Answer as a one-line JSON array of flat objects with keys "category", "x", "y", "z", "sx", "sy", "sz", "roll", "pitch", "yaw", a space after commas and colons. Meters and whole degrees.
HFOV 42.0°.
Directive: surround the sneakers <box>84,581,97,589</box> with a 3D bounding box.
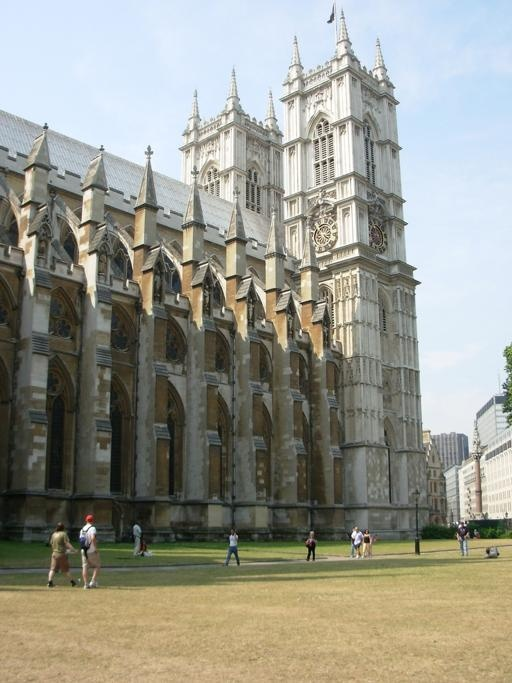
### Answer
[{"category": "sneakers", "x": -3.249, "y": 4.802, "z": 13.087, "sx": 0.104, "sy": 0.136, "sz": 0.293, "roll": -5, "pitch": -27, "yaw": 8}]
